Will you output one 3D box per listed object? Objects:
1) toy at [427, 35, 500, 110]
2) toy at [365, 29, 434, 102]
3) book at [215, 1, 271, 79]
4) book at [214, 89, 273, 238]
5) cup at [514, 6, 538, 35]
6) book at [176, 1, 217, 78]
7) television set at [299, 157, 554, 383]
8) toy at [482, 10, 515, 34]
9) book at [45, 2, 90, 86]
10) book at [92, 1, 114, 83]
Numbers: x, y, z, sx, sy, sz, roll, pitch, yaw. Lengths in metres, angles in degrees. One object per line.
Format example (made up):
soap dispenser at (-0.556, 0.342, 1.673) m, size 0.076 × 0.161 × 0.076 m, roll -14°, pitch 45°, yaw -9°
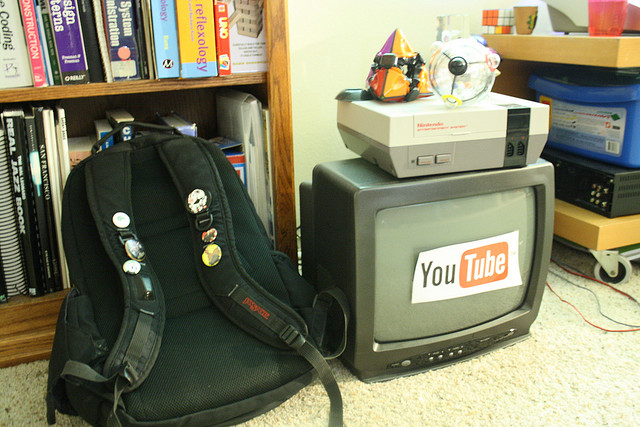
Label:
toy at (0.441, -0.432, 1.685) m, size 0.181 × 0.184 × 0.134 m, roll -14°, pitch 27°, yaw -25°
toy at (0.240, -0.460, 1.745) m, size 0.213 × 0.221 × 0.160 m, roll 10°, pitch 19°, yaw 27°
book at (-0.262, -0.580, 1.820) m, size 0.178 × 0.235 × 0.103 m, roll -4°, pitch 24°, yaw -5°
book at (-0.292, -0.155, 1.916) m, size 0.054 × 0.526 × 0.382 m, roll -8°, pitch -4°, yaw 20°
cup at (0.841, -0.810, 2.303) m, size 0.106 × 0.118 × 0.105 m, roll 1°, pitch 22°, yaw 0°
book at (-0.402, -0.559, 1.768) m, size 0.126 × 0.225 × 0.069 m, roll -5°, pitch 24°, yaw -7°
television set at (0.296, 0.087, 1.984) m, size 0.732 × 0.687 × 0.738 m, roll -10°, pitch 23°, yaw -25°
toy at (0.768, -0.807, 2.321) m, size 0.106 × 0.083 × 0.107 m, roll 5°, pitch 11°, yaw 7°
book at (-0.798, -0.530, 1.690) m, size 0.080 × 0.213 × 0.203 m, roll -10°, pitch 16°, yaw -16°
book at (-0.690, -0.544, 1.738) m, size 0.039 × 0.271 × 0.031 m, roll -13°, pitch 18°, yaw -24°
